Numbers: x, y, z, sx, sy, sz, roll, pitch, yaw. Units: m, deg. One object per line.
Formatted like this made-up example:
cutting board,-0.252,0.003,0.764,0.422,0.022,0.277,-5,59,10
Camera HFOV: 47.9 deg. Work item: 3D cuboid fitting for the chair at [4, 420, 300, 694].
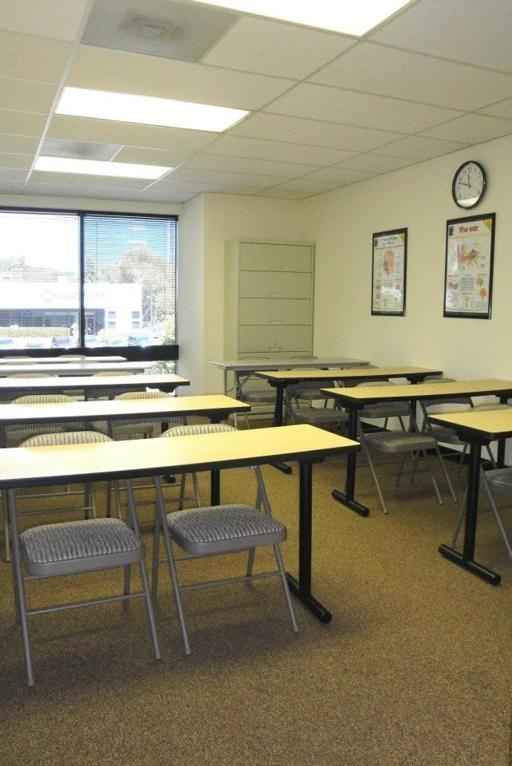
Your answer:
chair,-0.402,0.714,2.344,1.091,0.683,0.553,-2,5,-26

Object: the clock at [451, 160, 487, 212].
clock,1.896,-1.749,5.127,0.068,0.420,0.416,-1,5,-17
